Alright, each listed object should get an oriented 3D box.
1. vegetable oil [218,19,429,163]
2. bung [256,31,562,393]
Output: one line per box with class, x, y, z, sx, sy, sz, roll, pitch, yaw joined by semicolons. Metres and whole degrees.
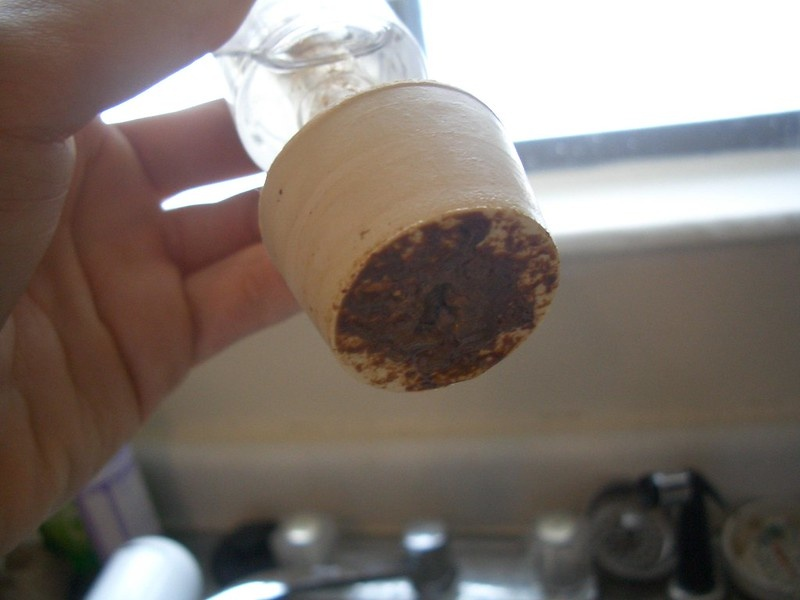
vegetable oil;-0.066;-0.181;0.615;0.122;0.150;0.143;1;29;-8
bung;0.000;-0.039;0.499;0.167;0.153;0.134;-18;41;-10
